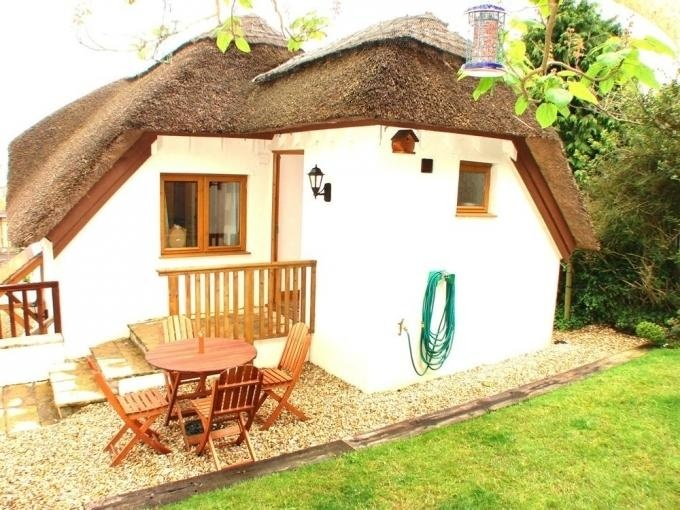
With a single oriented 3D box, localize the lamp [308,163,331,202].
[{"bbox_3d":[-0.374,-1.226,9.374,0.317,0.606,0.541,-5,15,-21],"label":"lamp"}]
